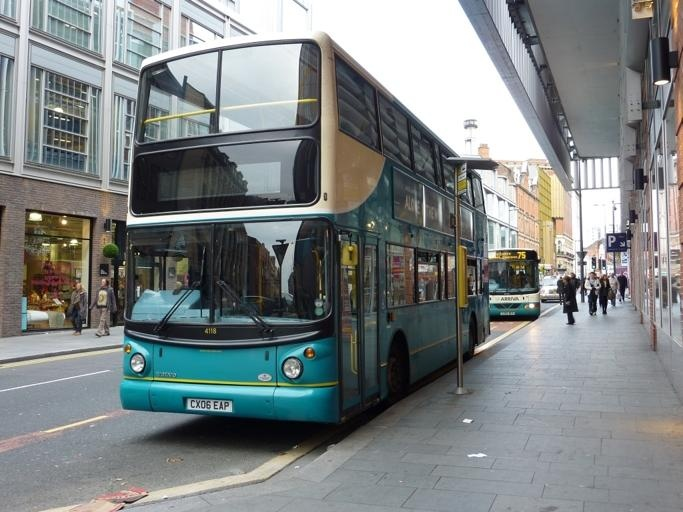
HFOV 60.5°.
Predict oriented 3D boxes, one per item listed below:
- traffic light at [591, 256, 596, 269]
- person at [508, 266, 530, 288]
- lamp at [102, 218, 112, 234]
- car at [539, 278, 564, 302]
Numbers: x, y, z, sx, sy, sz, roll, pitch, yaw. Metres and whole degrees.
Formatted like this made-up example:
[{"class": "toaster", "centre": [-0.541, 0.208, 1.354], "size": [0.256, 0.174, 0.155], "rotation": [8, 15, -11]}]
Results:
[{"class": "traffic light", "centre": [25.102, 0.686, 58.341], "size": [0.417, 1.546, 0.550], "rotation": [-1, -30, 19]}, {"class": "person", "centre": [8.552, 1.232, 28.923], "size": [1.299, 1.499, 0.752], "rotation": [-1, -8, 8]}, {"class": "lamp", "centre": [-10.167, -1.319, 25.581], "size": [0.175, 0.555, 0.432], "rotation": [-2, -1, 32]}, {"class": "car", "centre": [19.086, 2.992, 53.512], "size": [2.173, 2.155, 4.230], "rotation": [-3, -8, 24]}]
